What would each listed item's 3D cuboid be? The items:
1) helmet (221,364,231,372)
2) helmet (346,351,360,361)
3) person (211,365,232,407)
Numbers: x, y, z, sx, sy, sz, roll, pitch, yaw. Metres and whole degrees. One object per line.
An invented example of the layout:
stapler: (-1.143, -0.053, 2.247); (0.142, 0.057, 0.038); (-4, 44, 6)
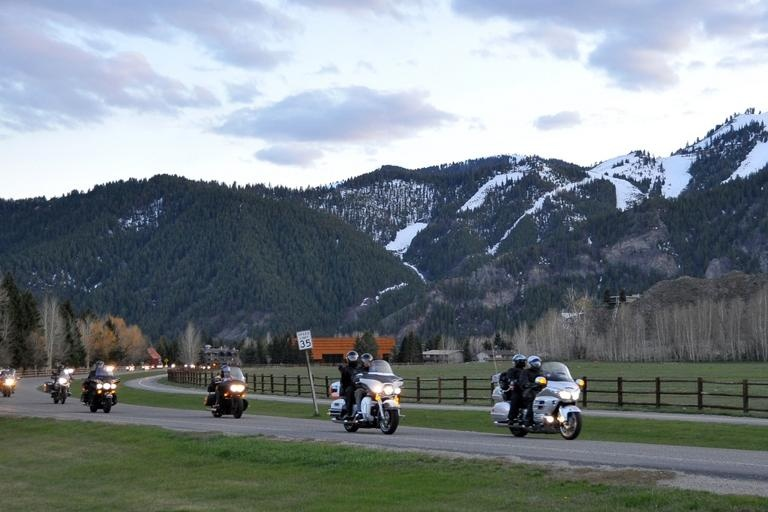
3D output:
helmet: (-9.417, 6.650, 52.131); (0.442, 0.357, 0.354); (1, -8, -11)
helmet: (-1.616, 4.998, 43.787); (0.447, 0.561, 0.563); (0, 12, 0)
person: (-9.769, 7.757, 52.524); (0.647, 2.532, 1.486); (4, -9, -28)
